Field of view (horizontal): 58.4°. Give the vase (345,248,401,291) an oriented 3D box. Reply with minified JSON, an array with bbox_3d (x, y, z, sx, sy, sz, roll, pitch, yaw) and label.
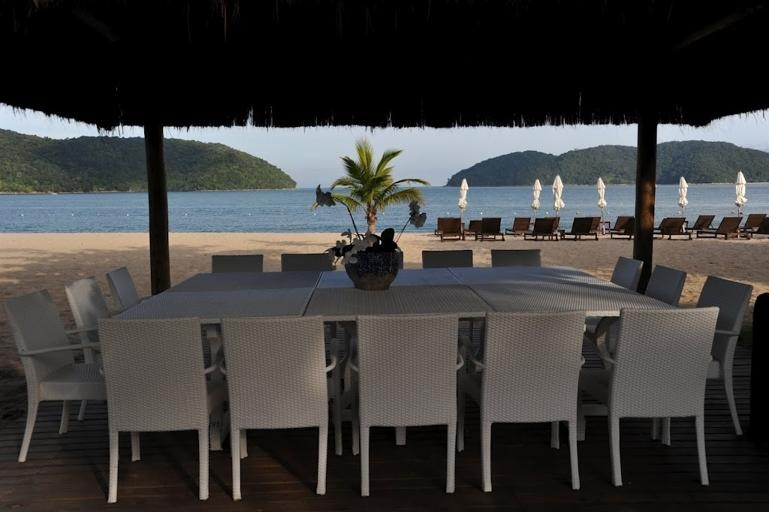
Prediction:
[{"bbox_3d":[-0.085,0.105,5.668,0.350,0.237,0.365,-1,-4,14],"label":"vase"}]

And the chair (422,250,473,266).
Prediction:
[{"bbox_3d":[0.636,0.013,7.010,0.482,0.144,0.216,0,-1,13],"label":"chair"}]

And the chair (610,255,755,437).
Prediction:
[{"bbox_3d":[2.545,0.696,5.449,1.024,1.594,0.973,0,0,0],"label":"chair"}]

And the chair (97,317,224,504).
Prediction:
[{"bbox_3d":[-1.628,1.070,5.150,0.887,1.263,0.986,0,2,-24],"label":"chair"}]

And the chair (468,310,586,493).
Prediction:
[{"bbox_3d":[1.032,0.997,5.212,0.990,1.300,1.033,0,2,-21],"label":"chair"}]

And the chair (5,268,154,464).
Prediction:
[{"bbox_3d":[-2.679,0.818,5.923,1.377,1.882,1.197,0,7,-3],"label":"chair"}]
